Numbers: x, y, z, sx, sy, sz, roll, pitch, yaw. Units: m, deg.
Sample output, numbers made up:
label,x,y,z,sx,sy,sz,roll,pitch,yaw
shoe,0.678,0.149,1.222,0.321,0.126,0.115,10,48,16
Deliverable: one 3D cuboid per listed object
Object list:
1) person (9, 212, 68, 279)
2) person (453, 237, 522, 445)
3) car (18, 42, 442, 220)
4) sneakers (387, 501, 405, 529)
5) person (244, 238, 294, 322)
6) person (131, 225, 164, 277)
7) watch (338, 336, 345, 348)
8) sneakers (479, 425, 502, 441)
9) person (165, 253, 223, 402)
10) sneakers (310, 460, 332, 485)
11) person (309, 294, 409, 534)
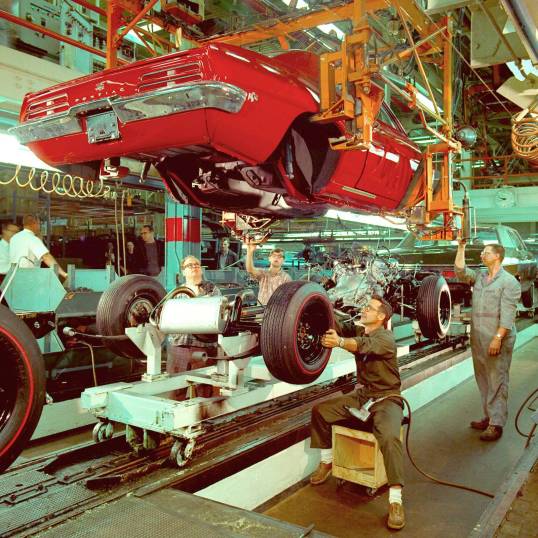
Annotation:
label,x,y,z,sx,sy,sz,roll,pitch,yaw
person,-2.639,-0.285,5.181,0.527,0.700,0.729,1,-2,-35
person,2.281,0.693,4.651,0.522,2.001,0.657,0,-2,-6
car,0.114,-0.839,3.309,1.513,0.618,2.555,1,2,40
sneakers,0.859,1.640,3.060,0.102,0.184,0.208,-1,-2,19
person,-0.009,0.065,5.098,0.472,0.626,0.869,0,-2,-1
person,-2.255,-0.310,8.461,0.523,0.882,1.490,1,-2,-17
watch,0.495,0.503,3.106,0.025,0.055,0.064,-6,10,9
sneakers,2.209,1.616,4.525,0.294,0.091,0.104,7,-3,-44
person,-0.679,0.512,4.047,0.470,1.265,0.741,0,-2,-11
sneakers,0.422,1.612,3.620,0.100,0.102,0.279,-1,-7,34
person,0.629,0.974,3.393,0.715,1.531,0.801,-1,-2,14
